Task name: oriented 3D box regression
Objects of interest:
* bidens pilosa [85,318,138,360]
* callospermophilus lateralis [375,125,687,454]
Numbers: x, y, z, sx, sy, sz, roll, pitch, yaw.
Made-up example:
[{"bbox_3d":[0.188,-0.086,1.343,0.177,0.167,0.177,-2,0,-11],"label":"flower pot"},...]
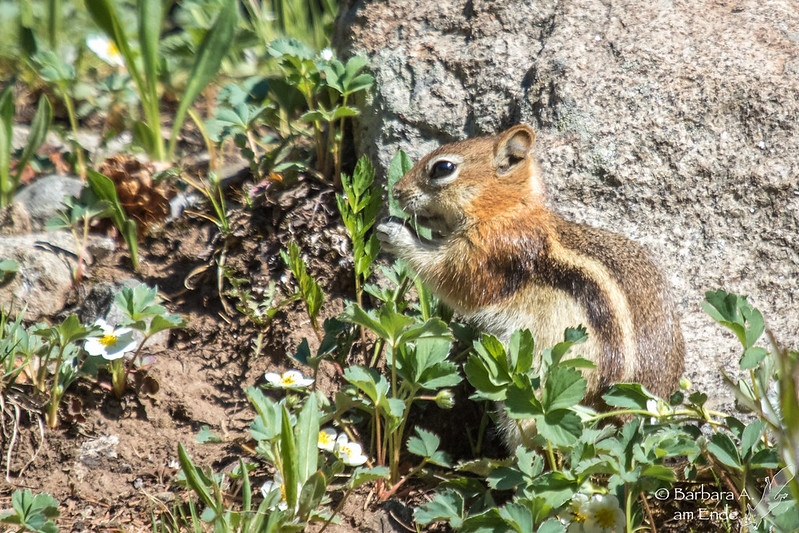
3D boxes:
[{"bbox_3d":[-1.678,0.437,5.280,0.239,0.090,0.243,-30,69,-17],"label":"bidens pilosa"},{"bbox_3d":[0.790,0.160,6.005,1.718,2.167,2.087,3,85,-12],"label":"callospermophilus lateralis"}]
